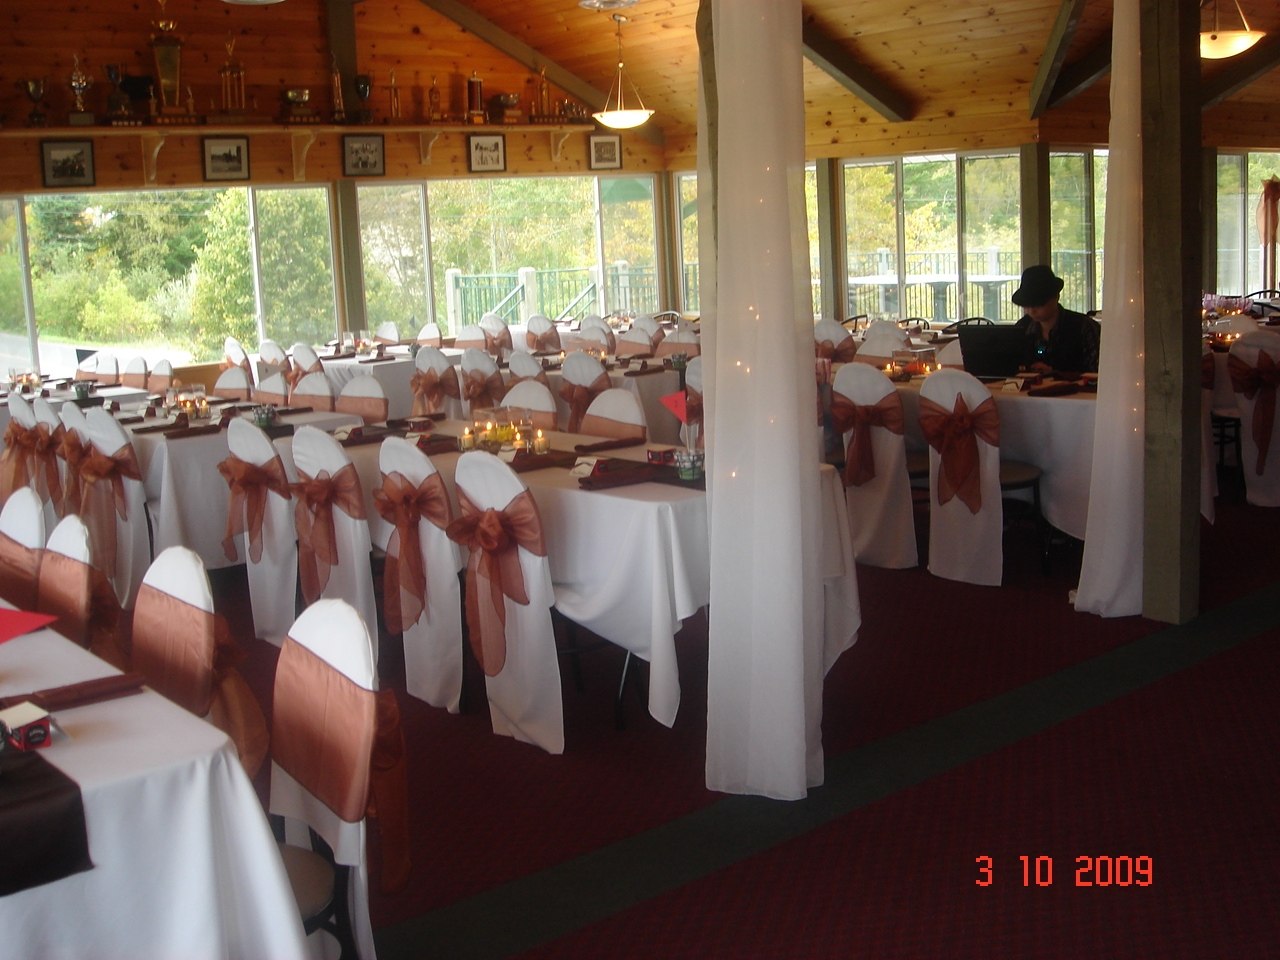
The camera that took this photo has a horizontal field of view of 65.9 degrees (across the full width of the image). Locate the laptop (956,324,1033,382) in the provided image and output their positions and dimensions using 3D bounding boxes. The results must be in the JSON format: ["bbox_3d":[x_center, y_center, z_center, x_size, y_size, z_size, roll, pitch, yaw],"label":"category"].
[{"bbox_3d":[2.125,-0.853,5.869,0.393,0.423,0.296,6,11,32],"label":"laptop"}]

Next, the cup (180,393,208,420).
[{"bbox_3d":[-2.553,-0.422,5.663,0.117,0.154,0.139,-12,-3,14],"label":"cup"}]

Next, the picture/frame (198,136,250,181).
[{"bbox_3d":[-4.102,-3.193,9.701,0.028,0.424,0.362,10,15,44],"label":"picture/frame"}]

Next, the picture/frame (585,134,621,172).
[{"bbox_3d":[-0.459,-4.082,12.201,0.044,0.411,0.398,8,13,40],"label":"picture/frame"}]

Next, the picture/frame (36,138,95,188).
[{"bbox_3d":[-5.247,-2.922,8.989,0.375,0.437,0.027,-10,15,-40],"label":"picture/frame"}]

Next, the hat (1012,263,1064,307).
[{"bbox_3d":[2.374,-1.206,5.842,0.209,0.121,0.329,-8,41,32],"label":"hat"}]
